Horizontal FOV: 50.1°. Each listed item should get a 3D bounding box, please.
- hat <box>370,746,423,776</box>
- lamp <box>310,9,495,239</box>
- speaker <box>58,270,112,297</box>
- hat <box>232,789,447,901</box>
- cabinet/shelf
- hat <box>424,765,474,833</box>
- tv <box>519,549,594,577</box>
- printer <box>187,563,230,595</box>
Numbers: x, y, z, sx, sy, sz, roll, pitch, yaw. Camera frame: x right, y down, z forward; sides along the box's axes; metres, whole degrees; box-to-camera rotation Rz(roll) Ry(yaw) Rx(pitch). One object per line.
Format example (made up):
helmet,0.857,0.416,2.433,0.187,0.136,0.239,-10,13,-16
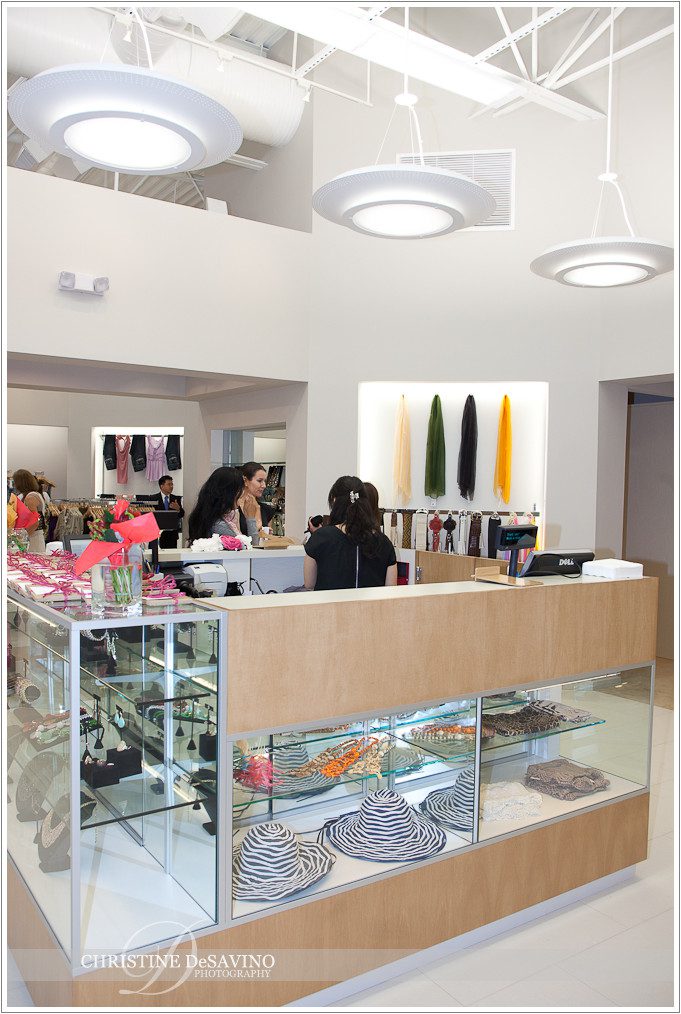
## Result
hat,0.191,0.850,2.422,0.144,0.053,0.084,1,1,-42
lamp,0.316,-1.789,3.592,0.742,0.798,0.774,3,3,36
speaker,-2.112,-1.825,5.989,0.412,0.179,0.162,-1,10,-26
hat,-0.047,1.053,2.237,0.441,0.092,0.268,-7,15,-30
cabinet/shelf,0.103,0.874,2.437,2.178,1.307,0.554,-2,10,-29
hat,0.371,0.983,2.566,0.156,0.124,0.225,3,21,-14
tv,0.885,0.218,3.076,0.389,0.149,0.117,0,11,-33
printer,-0.630,0.342,3.520,0.188,0.219,0.203,1,1,-25
